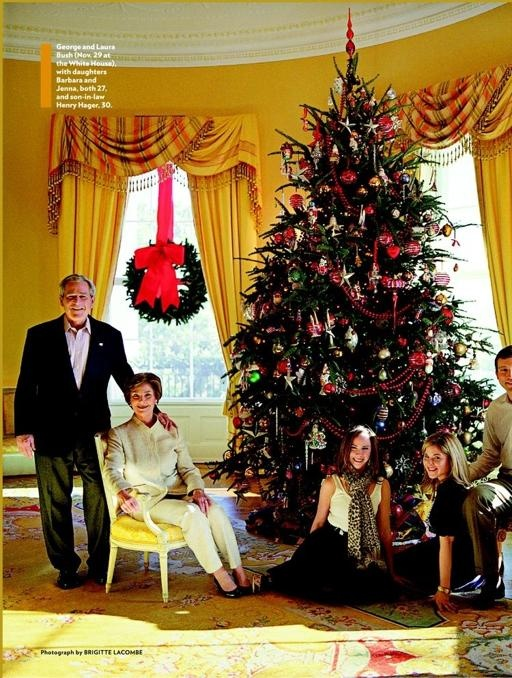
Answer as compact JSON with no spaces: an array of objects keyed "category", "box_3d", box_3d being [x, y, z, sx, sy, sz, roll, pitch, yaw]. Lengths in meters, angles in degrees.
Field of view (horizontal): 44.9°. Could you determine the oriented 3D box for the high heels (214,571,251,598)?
[{"category":"high heels","box_3d":[-0.100,1.138,2.871,0.089,0.053,0.149,4,-10,-33]}]
